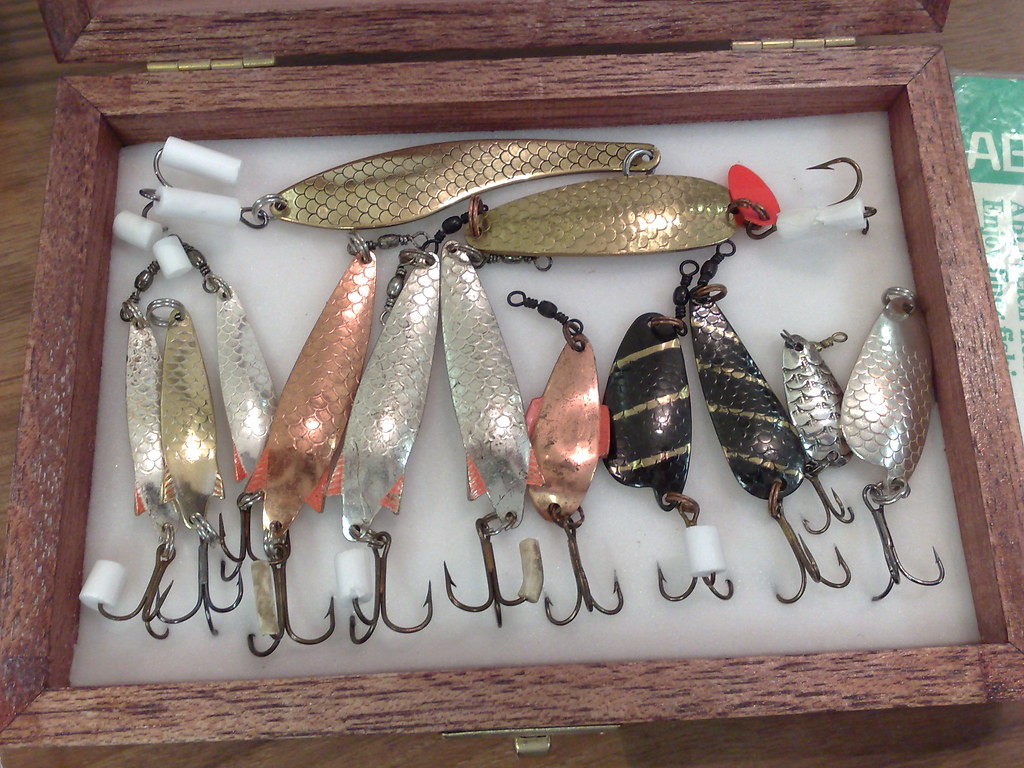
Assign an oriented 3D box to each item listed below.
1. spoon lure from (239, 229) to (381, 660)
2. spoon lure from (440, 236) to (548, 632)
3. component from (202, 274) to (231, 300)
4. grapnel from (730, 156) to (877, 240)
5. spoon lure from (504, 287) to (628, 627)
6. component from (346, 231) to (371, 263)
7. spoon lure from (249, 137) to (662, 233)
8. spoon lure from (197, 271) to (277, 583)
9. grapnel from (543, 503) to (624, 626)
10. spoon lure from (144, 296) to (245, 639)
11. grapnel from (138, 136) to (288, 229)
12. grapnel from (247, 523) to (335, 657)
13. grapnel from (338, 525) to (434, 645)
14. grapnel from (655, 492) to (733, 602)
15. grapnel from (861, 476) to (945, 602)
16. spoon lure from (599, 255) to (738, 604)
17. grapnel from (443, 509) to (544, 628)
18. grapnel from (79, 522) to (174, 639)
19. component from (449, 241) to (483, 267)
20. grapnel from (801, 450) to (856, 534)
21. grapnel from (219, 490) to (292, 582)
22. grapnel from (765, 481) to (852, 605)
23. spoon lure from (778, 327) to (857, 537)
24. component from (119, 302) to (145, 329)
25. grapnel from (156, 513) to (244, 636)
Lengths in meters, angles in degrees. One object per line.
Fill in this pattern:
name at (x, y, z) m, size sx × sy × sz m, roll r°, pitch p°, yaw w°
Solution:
spoon lure at (-0.314, 0.091, 1.736) m, size 0.154 × 0.634 × 0.101 m, roll 9°, pitch -14°, yaw 4°
spoon lure at (-0.039, 0.079, 1.719) m, size 0.180 × 0.652 × 0.070 m, roll -8°, pitch 19°, yaw -8°
component at (-0.499, -0.165, 1.743) m, size 0.049 × 0.036 × 0.016 m, roll 34°, pitch 5°, yaw 24°
grapnel at (0.491, -0.314, 1.726) m, size 0.207 × 0.144 × 0.070 m, roll 0°, pitch -11°, yaw 19°
spoon lure at (0.092, 0.103, 1.679) m, size 0.152 × 0.572 × 0.054 m, roll 3°, pitch -29°, yaw -10°
component at (-0.257, -0.233, 1.756) m, size 0.014 × 0.037 × 0.051 m, roll -37°, pitch -38°, yaw -20°
spoon lure at (-0.097, -0.337, 1.761) m, size 0.703 × 0.145 × 0.072 m, roll -5°, pitch -16°, yaw 3°
spoon lure at (-0.434, 0.042, 1.646) m, size 0.106 × 0.442 × 0.034 m, roll -12°, pitch -20°, yaw -5°
grapnel at (0.112, 0.284, 1.646) m, size 0.129 × 0.187 × 0.049 m, roll -5°, pitch -16°, yaw 3°
spoon lure at (-0.535, 0.104, 1.680) m, size 0.141 × 0.627 × 0.045 m, roll -1°, pitch -32°, yaw -26°
grapnel at (-0.504, -0.332, 1.726) m, size 0.238 × 0.140 × 0.063 m, roll 9°, pitch -14°, yaw -18°
grapnel at (-0.350, 0.333, 1.630) m, size 0.182 × 0.252 × 0.037 m, roll -4°, pitch -26°, yaw -8°
grapnel at (-0.202, 0.325, 1.632) m, size 0.182 × 0.215 × 0.030 m, roll 2°, pitch -33°, yaw -15°
grapnel at (0.294, 0.263, 1.636) m, size 0.119 × 0.196 × 0.054 m, roll 6°, pitch -34°, yaw -4°
grapnel at (0.627, 0.250, 1.681) m, size 0.139 × 0.243 × 0.020 m, roll -23°, pitch -59°, yaw 24°
spoon lure at (0.241, 0.054, 1.696) m, size 0.181 × 0.628 × 0.068 m, roll -6°, pitch -28°, yaw 7°
grapnel at (-0.031, 0.284, 1.616) m, size 0.164 × 0.054 × 0.218 m, roll -9°, pitch -58°, yaw 2°
grapnel at (-0.606, 0.312, 1.627) m, size 0.138 × 0.179 × 0.064 m, roll 3°, pitch -17°, yaw -22°
component at (-0.076, -0.221, 1.760) m, size 0.060 × 0.034 × 0.015 m, roll 31°, pitch -4°, yaw -7°
grapnel at (0.520, 0.179, 1.693) m, size 0.104 × 0.144 × 0.020 m, roll -10°, pitch -20°, yaw 9°
grapnel at (-0.407, 0.243, 1.646) m, size 0.128 × 0.139 × 0.048 m, roll -3°, pitch 2°, yaw 7°
grapnel at (0.481, 0.264, 1.669) m, size 0.160 × 0.239 × 0.040 m, roll -10°, pitch -42°, yaw 6°
spoon lure at (0.511, 0.068, 1.709) m, size 0.139 × 0.289 × 0.033 m, roll -12°, pitch -22°, yaw -3°
component at (-0.636, -0.117, 1.723) m, size 0.033 × 0.049 × 0.018 m, roll -41°, pitch -19°, yaw -2°
grapnel at (-0.482, 0.297, 1.641) m, size 0.123 × 0.195 × 0.044 m, roll 3°, pitch -11°, yaw -4°
